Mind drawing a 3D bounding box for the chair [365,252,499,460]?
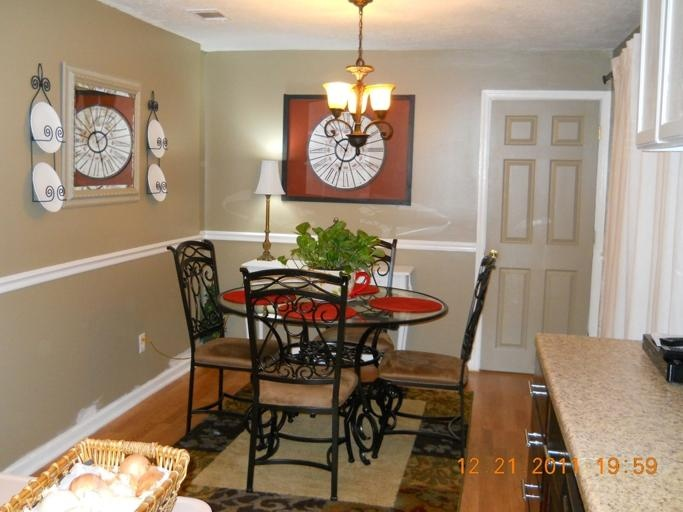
[{"bbox_3d":[0.629,0.623,3.400,0.714,1.224,0.660,4,4,11],"label":"chair"}]

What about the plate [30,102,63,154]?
[{"bbox_3d":[-1.760,-0.763,3.032,0.078,0.301,0.182,4,10,16],"label":"plate"}]

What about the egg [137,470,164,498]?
[{"bbox_3d":[-0.382,0.451,1.009,0.042,0.033,0.013,-41,17,-12],"label":"egg"}]

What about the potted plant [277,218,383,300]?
[{"bbox_3d":[-0.085,-0.070,3.259,0.541,0.280,0.596,9,14,29],"label":"potted plant"}]

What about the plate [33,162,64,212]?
[{"bbox_3d":[-1.767,-0.409,3.056,0.034,0.229,0.226,-3,-4,15],"label":"plate"}]

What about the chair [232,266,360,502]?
[{"bbox_3d":[-0.235,0.701,3.063,0.623,1.233,0.713,2,1,10],"label":"chair"}]

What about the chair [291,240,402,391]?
[{"bbox_3d":[0.251,0.386,4.015,0.470,0.814,0.506,-5,30,-31],"label":"chair"}]

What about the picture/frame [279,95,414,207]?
[{"bbox_3d":[0.093,-0.960,4.578,0.999,0.827,0.039,3,8,7],"label":"picture/frame"}]
